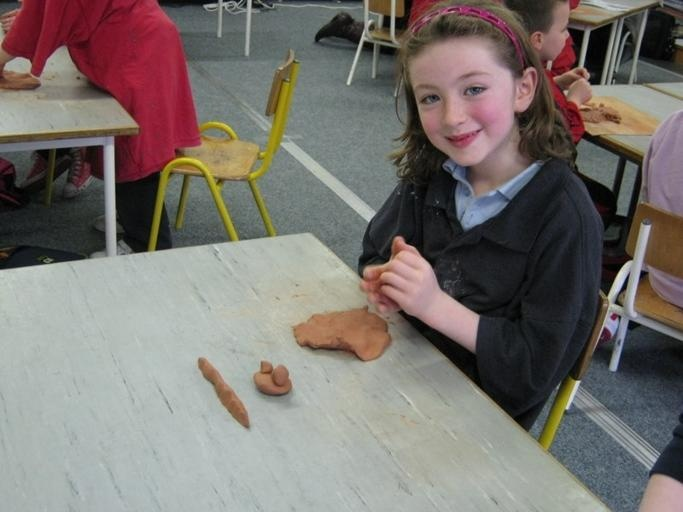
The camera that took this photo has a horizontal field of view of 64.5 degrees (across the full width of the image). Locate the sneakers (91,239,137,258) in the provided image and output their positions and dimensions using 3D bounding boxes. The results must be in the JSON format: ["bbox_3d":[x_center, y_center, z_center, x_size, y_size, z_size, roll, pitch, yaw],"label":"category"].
[{"bbox_3d":[-0.945,-0.031,2.272,0.146,0.097,0.054,-3,33,-14],"label":"sneakers"}]

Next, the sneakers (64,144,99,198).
[{"bbox_3d":[-1.484,-0.468,3.021,0.097,0.195,0.290,3,36,1],"label":"sneakers"}]
